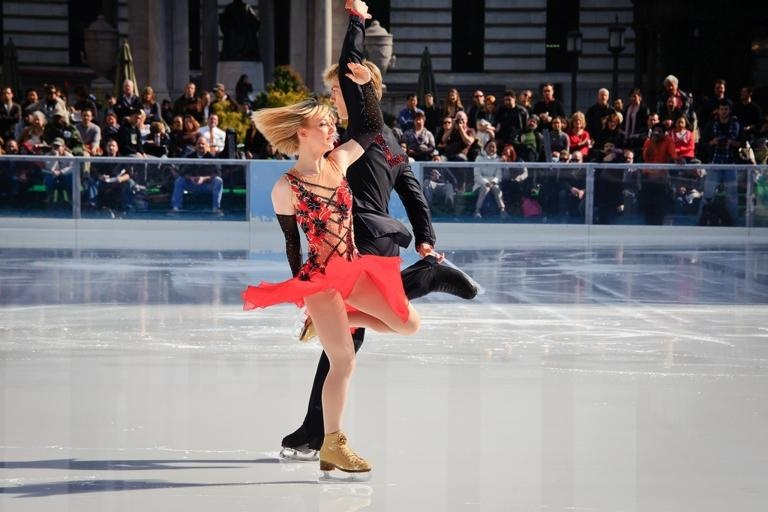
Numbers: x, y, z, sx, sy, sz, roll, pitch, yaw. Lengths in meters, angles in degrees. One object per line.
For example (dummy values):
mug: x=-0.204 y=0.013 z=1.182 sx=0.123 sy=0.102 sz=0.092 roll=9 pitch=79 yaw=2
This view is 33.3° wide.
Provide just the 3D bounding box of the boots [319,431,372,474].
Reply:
boots: x=-0.339 y=1.771 z=11.611 sx=0.550 sy=0.334 sz=0.191 roll=2 pitch=0 yaw=33

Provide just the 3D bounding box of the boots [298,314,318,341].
boots: x=-0.681 y=0.664 z=11.951 sx=0.292 sy=0.111 sz=0.108 roll=-43 pitch=-32 yaw=21

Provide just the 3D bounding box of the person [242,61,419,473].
person: x=-0.482 y=0.086 z=11.732 sx=1.419 sy=3.757 sz=0.561 roll=0 pitch=2 yaw=0
